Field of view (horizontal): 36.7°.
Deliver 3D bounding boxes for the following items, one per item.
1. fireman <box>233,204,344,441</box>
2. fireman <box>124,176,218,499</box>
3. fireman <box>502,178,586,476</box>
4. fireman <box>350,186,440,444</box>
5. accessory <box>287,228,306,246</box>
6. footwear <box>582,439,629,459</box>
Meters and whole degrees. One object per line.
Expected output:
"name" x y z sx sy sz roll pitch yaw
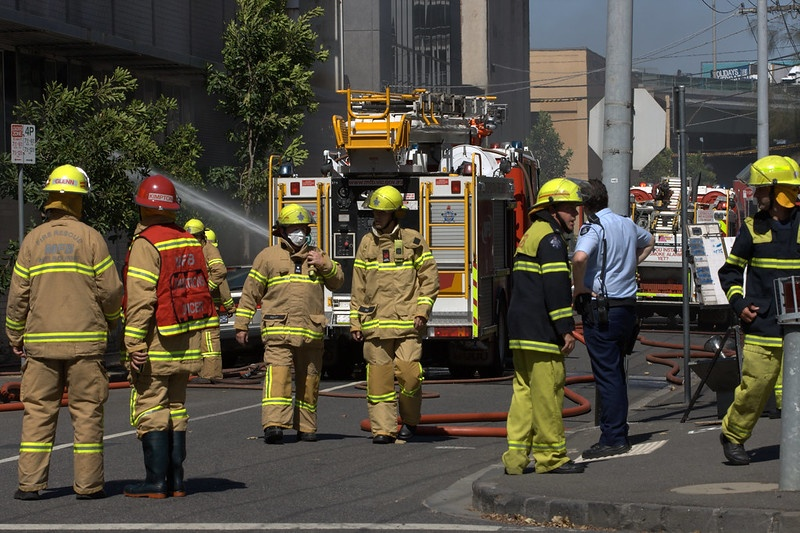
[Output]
"fireman" -1.313 0.617 14.115 1.220 2.623 1.166 0 1 -8
"fireman" -2.467 0.670 11.569 1.173 2.660 1.130 0 1 38
"fireman" 1.414 0.565 11.868 0.981 2.547 1.069 0 -1 0
"fireman" -0.178 0.554 14.041 1.175 2.637 1.226 0 1 2
"accessory" -1.155 -0.323 13.841 0.177 0.108 0.187 -3 4 -25
"footwear" 2.017 1.801 11.895 0.517 0.202 0.165 -1 -5 -7
